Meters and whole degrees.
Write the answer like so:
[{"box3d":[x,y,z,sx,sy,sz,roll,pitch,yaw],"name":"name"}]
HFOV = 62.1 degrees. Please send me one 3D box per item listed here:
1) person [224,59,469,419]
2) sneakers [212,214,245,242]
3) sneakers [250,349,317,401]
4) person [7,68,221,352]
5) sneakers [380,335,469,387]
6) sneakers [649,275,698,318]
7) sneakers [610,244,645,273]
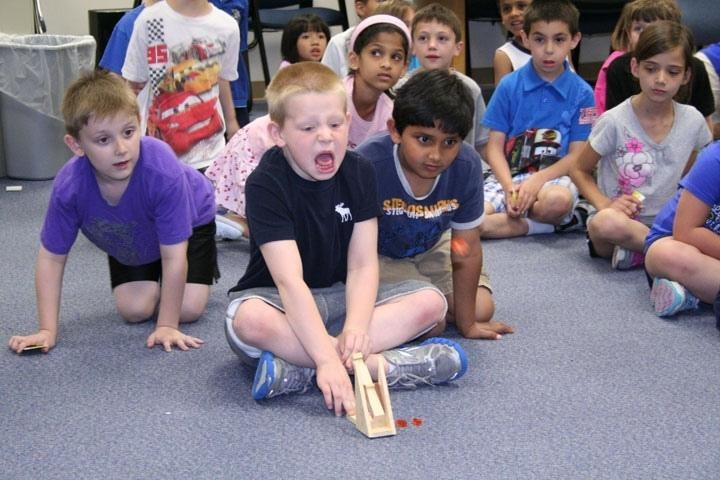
[{"box3d":[-0.052,-0.005,1.500,0.558,0.782,0.487,22,32,40],"name":"person"},{"box3d":[-0.542,-0.052,2.475,0.111,0.063,0.087,19,2,29],"name":"sneakers"},{"box3d":[-0.196,0.349,1.506,0.180,0.090,0.186,1,11,-29],"name":"sneakers"},{"box3d":[-0.742,-0.090,1.782,0.530,0.760,0.486,-2,24,-4],"name":"person"},{"box3d":[0.168,0.315,1.572,0.230,0.105,0.106,-5,12,10],"name":"sneakers"},{"box3d":[0.989,0.181,1.874,0.142,0.104,0.128,14,28,28],"name":"sneakers"},{"box3d":[0.978,0.075,2.187,0.155,0.072,0.054,-7,14,-41],"name":"sneakers"}]
